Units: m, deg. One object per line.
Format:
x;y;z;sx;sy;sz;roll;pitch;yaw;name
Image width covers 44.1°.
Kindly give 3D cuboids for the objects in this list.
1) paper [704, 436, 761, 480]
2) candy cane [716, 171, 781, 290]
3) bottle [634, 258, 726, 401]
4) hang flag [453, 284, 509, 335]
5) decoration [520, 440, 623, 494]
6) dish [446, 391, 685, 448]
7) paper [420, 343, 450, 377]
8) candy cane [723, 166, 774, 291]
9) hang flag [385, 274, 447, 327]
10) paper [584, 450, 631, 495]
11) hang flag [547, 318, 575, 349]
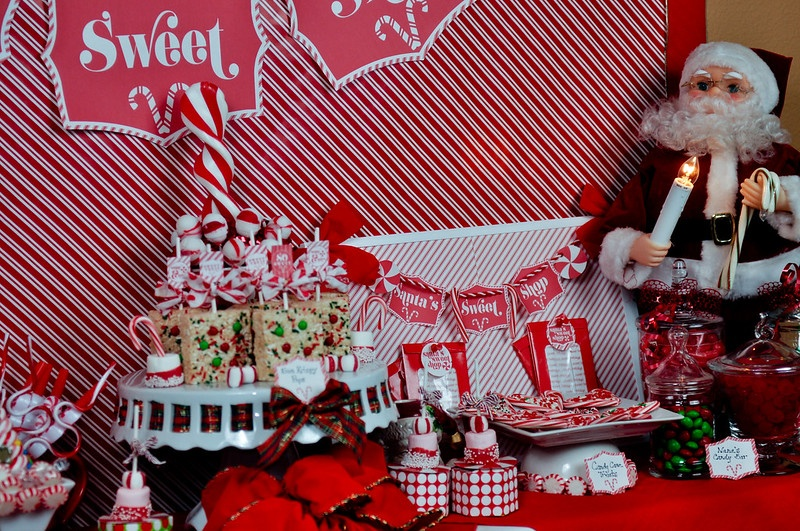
1.216;0.711;3.631;0.150;0.133;0.007;-4;-8;3;paper
1.369;-0.157;3.885;0.117;0.502;0.210;20;14;23;candy cane
1.135;0.281;4.004;0.352;0.568;0.349;-1;3;0;bottle
0.335;0.178;4.046;0.252;0.213;0.026;-7;-9;38;hang flag
0.597;0.768;3.706;0.233;0.092;0.229;15;-14;-39;decoration
0.634;0.577;3.753;0.821;0.188;0.342;-3;1;-1;dish
0.151;0.369;3.964;0.148;0.144;0.016;7;16;34;paper
1.394;-0.143;3.973;0.191;0.483;0.104;12;2;15;candy cane
0.056;0.140;3.996;0.260;0.210;0.012;21;-15;-28;hang flag
0.752;0.761;3.606;0.149;0.159;0.019;-2;-22;-13;paper
0.662;0.286;4.076;0.107;0.113;0.015;12;-20;-14;hang flag
